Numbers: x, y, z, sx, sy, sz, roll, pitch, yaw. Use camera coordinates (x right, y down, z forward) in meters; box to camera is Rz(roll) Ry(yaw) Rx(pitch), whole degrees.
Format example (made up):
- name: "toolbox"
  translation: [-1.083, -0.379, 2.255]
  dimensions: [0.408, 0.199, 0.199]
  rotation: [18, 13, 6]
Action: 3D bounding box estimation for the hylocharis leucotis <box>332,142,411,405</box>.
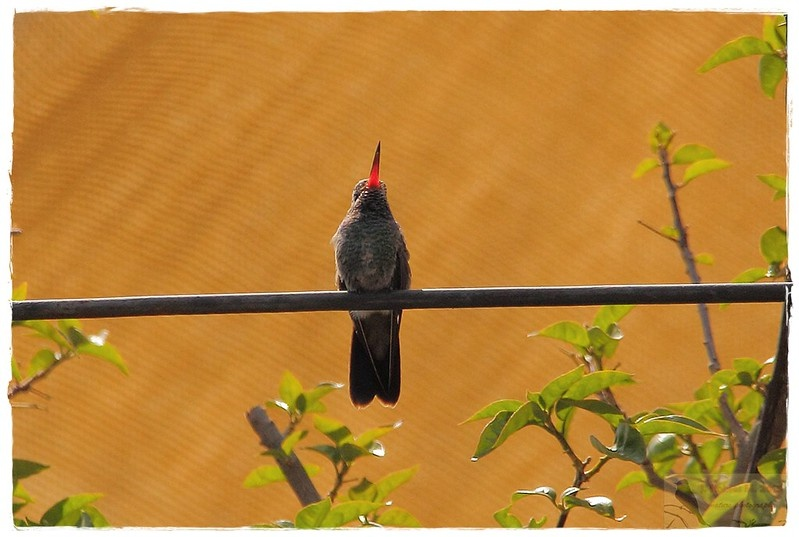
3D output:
- name: "hylocharis leucotis"
  translation: [-0.137, 0.031, 7.555]
  dimensions: [0.415, 0.548, 1.212]
  rotation: [2, -73, -3]
